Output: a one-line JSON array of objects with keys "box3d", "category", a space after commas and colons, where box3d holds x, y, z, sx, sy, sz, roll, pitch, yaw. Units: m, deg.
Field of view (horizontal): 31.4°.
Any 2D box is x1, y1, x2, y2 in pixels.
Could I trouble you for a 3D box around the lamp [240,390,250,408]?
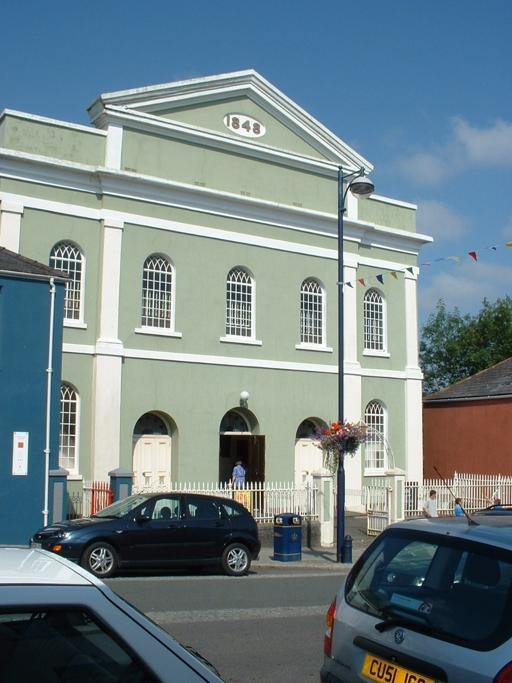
[{"box3d": [-0.305, 1.564, 24.827, 0.240, 0.449, 0.496, 0, -8, 3], "category": "lamp"}]
